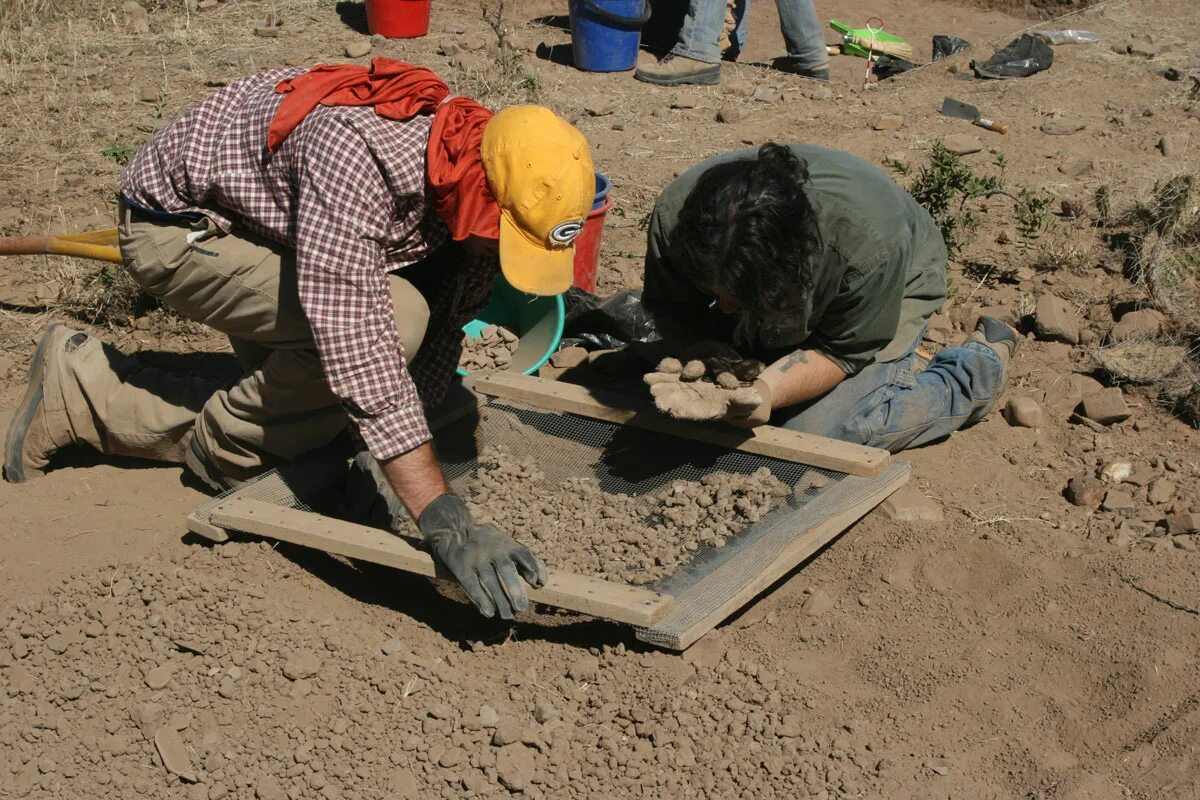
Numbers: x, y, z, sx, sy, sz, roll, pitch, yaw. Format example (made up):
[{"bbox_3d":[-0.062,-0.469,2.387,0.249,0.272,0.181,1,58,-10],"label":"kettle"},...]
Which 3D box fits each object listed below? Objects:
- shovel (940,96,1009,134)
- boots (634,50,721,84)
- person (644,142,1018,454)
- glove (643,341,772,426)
[{"bbox_3d":[2.530,-1.941,8.814,0.528,0.070,0.183,26,64,27],"label":"shovel"},{"bbox_3d":[0.584,-2.483,9.612,0.653,0.264,0.251,4,14,-4],"label":"boots"},{"bbox_3d":[1.112,-0.451,5.972,1.691,1.393,0.841,-13,44,-24],"label":"person"},{"bbox_3d":[0.488,-0.048,5.749,0.457,0.144,0.363,17,-4,11],"label":"glove"}]
